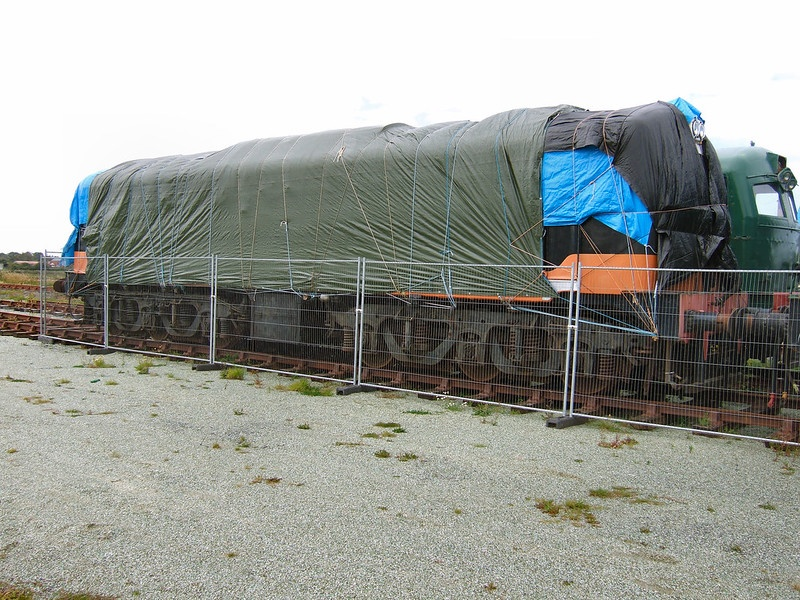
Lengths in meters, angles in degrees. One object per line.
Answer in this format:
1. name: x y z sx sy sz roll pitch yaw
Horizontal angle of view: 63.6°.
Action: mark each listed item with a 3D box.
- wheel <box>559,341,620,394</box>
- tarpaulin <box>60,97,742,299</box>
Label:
1. wheel: 2.812 0.982 9.442 0.843 0.773 0.227 -5 2 15
2. tarpaulin: -1.939 -1.878 14.330 16.263 3.354 3.931 4 6 36
